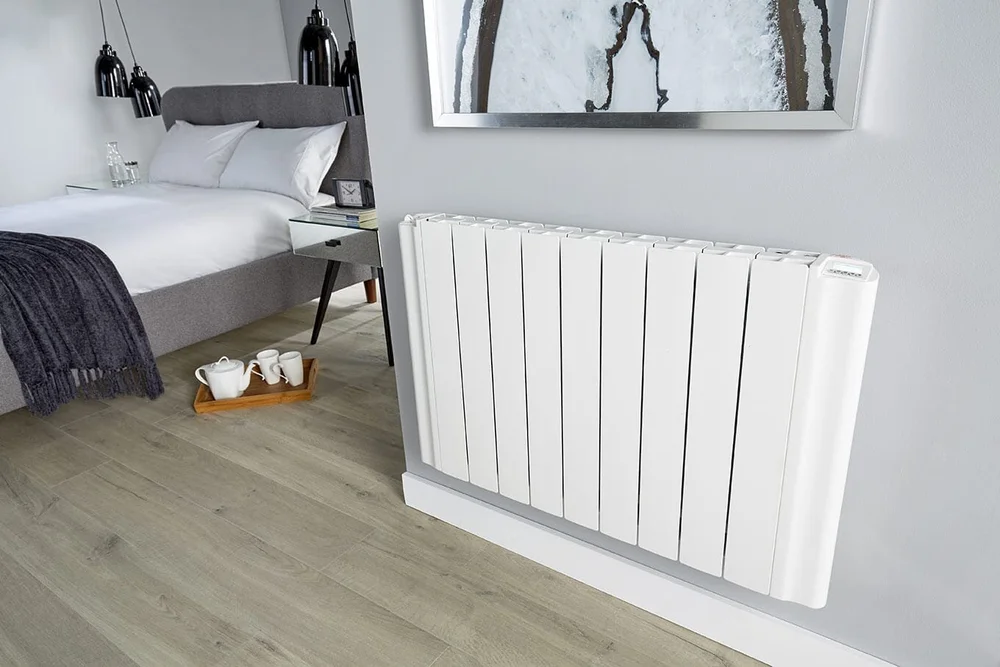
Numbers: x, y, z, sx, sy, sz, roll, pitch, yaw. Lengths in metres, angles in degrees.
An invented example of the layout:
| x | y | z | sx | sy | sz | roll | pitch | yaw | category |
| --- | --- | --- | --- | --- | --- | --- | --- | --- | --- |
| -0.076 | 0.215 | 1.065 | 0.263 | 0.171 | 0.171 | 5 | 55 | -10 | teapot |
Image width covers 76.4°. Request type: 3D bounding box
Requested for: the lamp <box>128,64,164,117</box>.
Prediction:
| x | y | z | sx | sy | sz | roll | pitch | yaw | category |
| --- | --- | --- | --- | --- | --- | --- | --- | --- | --- |
| -2.631 | -1.784 | 4.647 | 0.229 | 0.337 | 0.204 | -4 | 24 | -9 | lamp |

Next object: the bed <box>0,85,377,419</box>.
| x | y | z | sx | sy | sz | roll | pitch | yaw | category |
| --- | --- | --- | --- | --- | --- | --- | --- | --- | --- |
| -1.530 | -0.582 | 4.057 | 2.075 | 1.146 | 2.173 | 14 | 22 | 33 | bed |

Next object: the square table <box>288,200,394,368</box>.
| x | y | z | sx | sy | sz | roll | pitch | yaw | category |
| --- | --- | --- | --- | --- | --- | --- | --- | --- | --- |
| -0.681 | -0.274 | 3.333 | 0.627 | 0.696 | 0.449 | 16 | 29 | 34 | square table |

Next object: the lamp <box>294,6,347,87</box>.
| x | y | z | sx | sy | sz | roll | pitch | yaw | category |
| --- | --- | --- | --- | --- | --- | --- | --- | --- | --- |
| -0.664 | -1.044 | 2.290 | 0.155 | 0.273 | 0.324 | -5 | 22 | -13 | lamp |

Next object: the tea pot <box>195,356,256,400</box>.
| x | y | z | sx | sy | sz | roll | pitch | yaw | category |
| --- | --- | --- | --- | --- | --- | --- | --- | --- | --- |
| -1.267 | 0.215 | 2.931 | 0.284 | 0.152 | 0.169 | 0 | 13 | 6 | tea pot |

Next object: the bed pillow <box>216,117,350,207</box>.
| x | y | z | sx | sy | sz | roll | pitch | yaw | category |
| --- | --- | --- | --- | --- | --- | --- | --- | --- | --- |
| -1.247 | -0.983 | 3.685 | 0.730 | 0.283 | 0.303 | 13 | 45 | 24 | bed pillow |

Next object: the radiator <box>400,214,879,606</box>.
| x | y | z | sx | sy | sz | roll | pitch | yaw | category |
| --- | --- | --- | --- | --- | --- | --- | --- | --- | --- |
| 0.385 | 0.181 | 1.655 | 1.262 | 0.733 | 0.166 | 11 | 27 | 29 | radiator |

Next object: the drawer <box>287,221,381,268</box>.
| x | y | z | sx | sy | sz | roll | pitch | yaw | category |
| --- | --- | --- | --- | --- | --- | --- | --- | --- | --- |
| -0.793 | -0.436 | 3.061 | 0.428 | 0.351 | 0.089 | 9 | 42 | 23 | drawer |

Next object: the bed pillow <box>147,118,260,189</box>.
| x | y | z | sx | sy | sz | roll | pitch | yaw | category |
| --- | --- | --- | --- | --- | --- | --- | --- | --- | --- |
| -1.871 | -1.114 | 4.212 | 0.758 | 0.485 | 0.200 | 4 | -9 | 30 | bed pillow |
